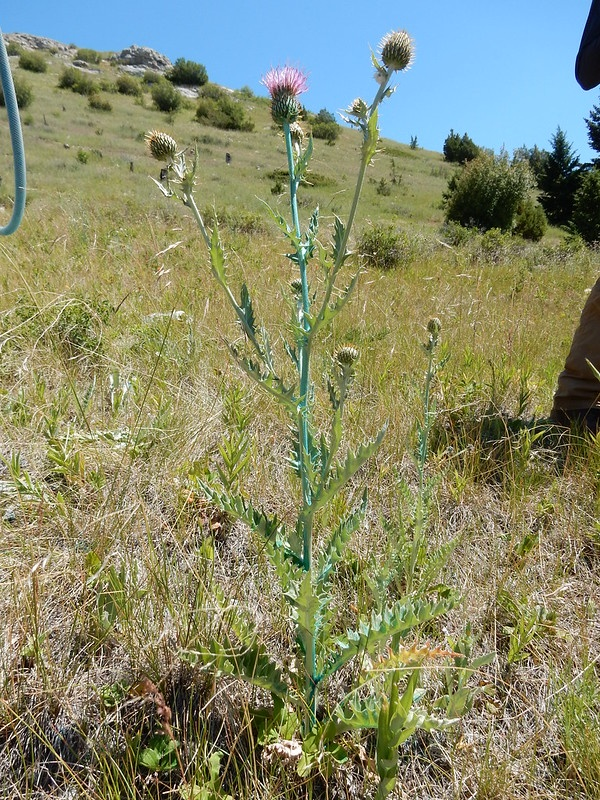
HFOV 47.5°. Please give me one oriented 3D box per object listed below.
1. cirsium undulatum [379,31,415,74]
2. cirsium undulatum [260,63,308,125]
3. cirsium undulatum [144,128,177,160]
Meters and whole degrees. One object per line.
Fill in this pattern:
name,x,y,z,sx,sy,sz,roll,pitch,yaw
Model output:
cirsium undulatum,0.204,-0.739,1.448,0.068,0.084,0.105,9,22,4
cirsium undulatum,-0.037,-0.739,1.661,0.068,0.160,0.083,2,12,14
cirsium undulatum,-0.332,-0.606,1.622,0.068,0.056,0.215,0,29,-23
